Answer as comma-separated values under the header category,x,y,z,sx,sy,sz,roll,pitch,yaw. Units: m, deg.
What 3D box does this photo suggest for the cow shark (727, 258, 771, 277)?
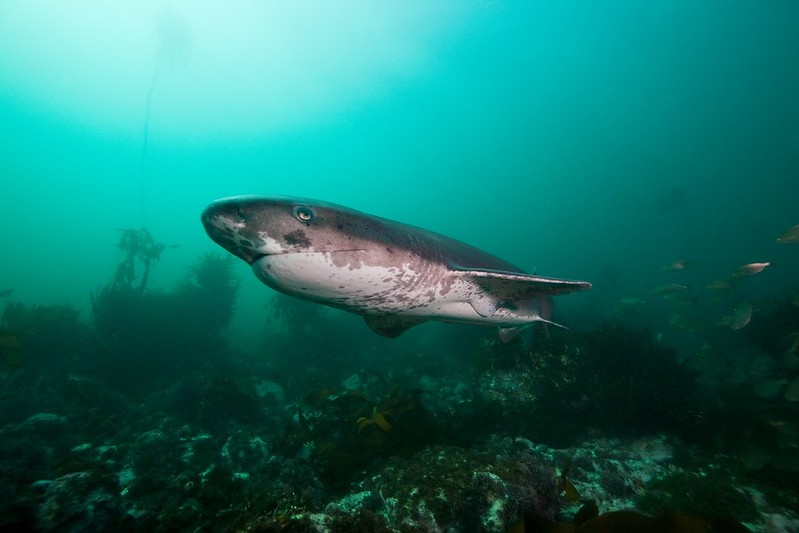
category,x,y,z,sx,sy,sz,roll,pitch,yaw
cow shark,18.874,0.029,32.646,3.209,0.463,1.101,-8,-21,6
